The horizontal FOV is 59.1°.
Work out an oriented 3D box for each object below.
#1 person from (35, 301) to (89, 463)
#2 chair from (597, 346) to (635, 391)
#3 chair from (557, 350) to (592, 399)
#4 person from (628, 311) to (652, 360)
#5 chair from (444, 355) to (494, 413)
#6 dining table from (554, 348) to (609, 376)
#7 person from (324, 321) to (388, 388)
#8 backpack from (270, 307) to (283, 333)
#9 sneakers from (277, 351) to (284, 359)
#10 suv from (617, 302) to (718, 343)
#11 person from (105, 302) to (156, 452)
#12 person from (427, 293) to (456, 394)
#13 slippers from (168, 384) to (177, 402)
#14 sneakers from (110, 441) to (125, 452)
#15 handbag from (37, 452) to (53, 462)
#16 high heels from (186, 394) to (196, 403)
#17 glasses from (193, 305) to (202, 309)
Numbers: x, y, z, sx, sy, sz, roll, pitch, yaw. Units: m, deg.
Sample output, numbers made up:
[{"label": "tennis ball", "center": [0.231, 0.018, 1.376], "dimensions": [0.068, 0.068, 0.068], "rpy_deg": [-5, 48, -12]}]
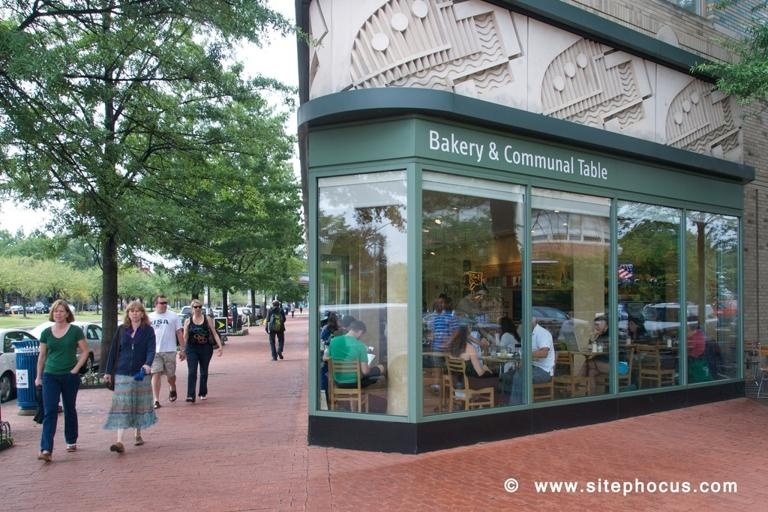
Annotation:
[{"label": "person", "center": [-5.623, 2.064, 11.609], "dimensions": [0.808, 2.643, 0.887], "rpy_deg": [-2, 4, -26]}, {"label": "chair", "center": [4.738, 2.297, 14.011], "dimensions": [0.830, 1.154, 0.930], "rpy_deg": [-1, -4, 29]}, {"label": "chair", "center": [3.809, 2.343, 13.072], "dimensions": [0.684, 1.038, 0.697], "rpy_deg": [-13, -12, 28]}, {"label": "person", "center": [5.399, 1.629, 14.203], "dimensions": [0.643, 0.815, 0.162], "rpy_deg": [-4, 5, -41]}, {"label": "chair", "center": [1.369, 2.318, 11.976], "dimensions": [0.577, 0.902, 0.593], "rpy_deg": [29, -11, -29]}, {"label": "dining table", "center": [3.962, 2.100, 13.345], "dimensions": [0.620, 0.224, 0.952], "rpy_deg": [0, -2, -2]}, {"label": "person", "center": [-0.596, 1.792, 12.293], "dimensions": [1.115, 1.233, 0.871], "rpy_deg": [6, 4, 32]}, {"label": "backpack", "center": [-3.742, 2.237, 23.182], "dimensions": [0.351, 0.877, 0.595], "rpy_deg": [3, 5, 42]}, {"label": "sneakers", "center": [-3.662, 3.482, 23.425], "dimensions": [0.124, 0.319, 0.210], "rpy_deg": [-9, 12, -17]}, {"label": "suv", "center": [6.334, 1.416, 15.079], "dimensions": [2.252, 0.928, 1.006], "rpy_deg": [4, -5, -24]}, {"label": "person", "center": [-4.505, 2.075, 11.780], "dimensions": [0.857, 2.569, 0.580], "rpy_deg": [-2, 4, -21]}, {"label": "person", "center": [1.000, 1.500, 11.915], "dimensions": [0.215, 1.632, 0.634], "rpy_deg": [2, 4, 36]}, {"label": "slippers", "center": [-4.921, 3.159, 15.449], "dimensions": [0.119, 0.445, 0.163], "rpy_deg": [-2, -2, 33]}, {"label": "sneakers", "center": [-4.658, 3.274, 11.604], "dimensions": [0.231, 0.203, 0.235], "rpy_deg": [-2, 4, -23]}, {"label": "handbag", "center": [-5.702, 3.331, 11.176], "dimensions": [0.110, 0.117, 0.253], "rpy_deg": [0, -3, -1]}, {"label": "high heels", "center": [-4.417, 3.200, 15.133], "dimensions": [0.101, 0.118, 0.280], "rpy_deg": [2, -39, -3]}, {"label": "glasses", "center": [-4.301, 1.147, 15.285], "dimensions": [0.091, 0.083, 0.296], "rpy_deg": [0, 3, 13]}]
